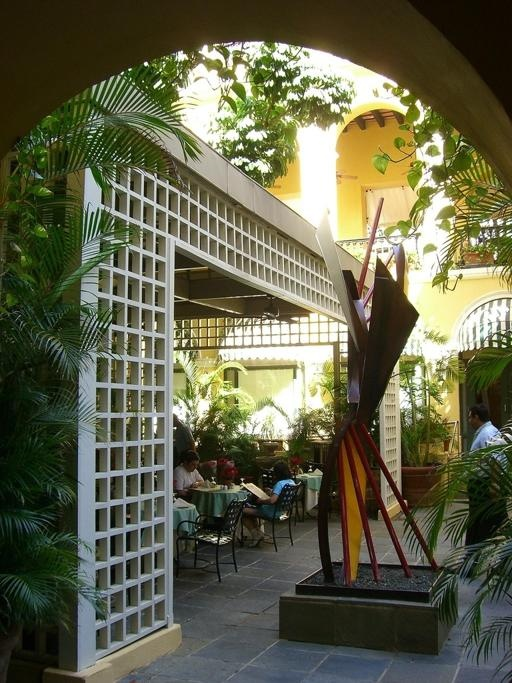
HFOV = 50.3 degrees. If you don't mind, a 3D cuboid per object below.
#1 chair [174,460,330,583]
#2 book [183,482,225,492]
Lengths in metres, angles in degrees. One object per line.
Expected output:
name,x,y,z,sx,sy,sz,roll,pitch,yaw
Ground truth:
chair,-0.263,2.380,7.190,1.395,0.711,1.437,-2,-7,22
book,-0.677,2.046,7.573,0.312,0.075,0.315,0,-3,13
